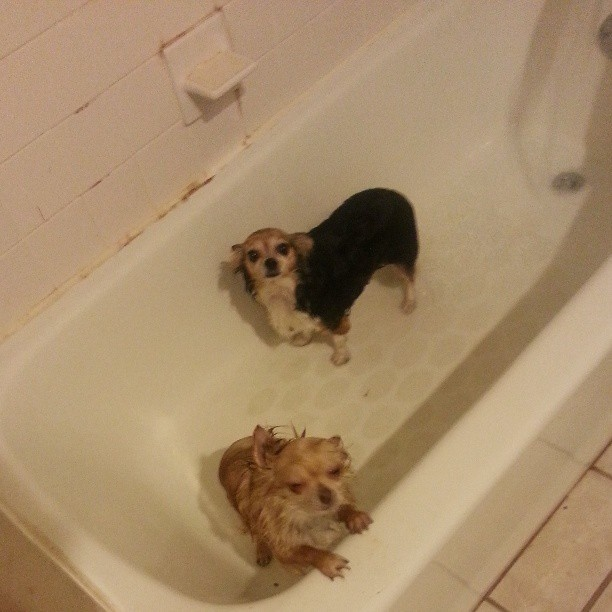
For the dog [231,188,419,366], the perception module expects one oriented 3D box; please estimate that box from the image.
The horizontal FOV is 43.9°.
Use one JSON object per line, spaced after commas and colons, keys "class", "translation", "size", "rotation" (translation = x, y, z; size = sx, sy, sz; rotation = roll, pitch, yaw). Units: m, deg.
{"class": "dog", "translation": [0.160, -0.128, 3.111], "size": [0.834, 0.523, 0.372], "rotation": [-36, 16, -33]}
